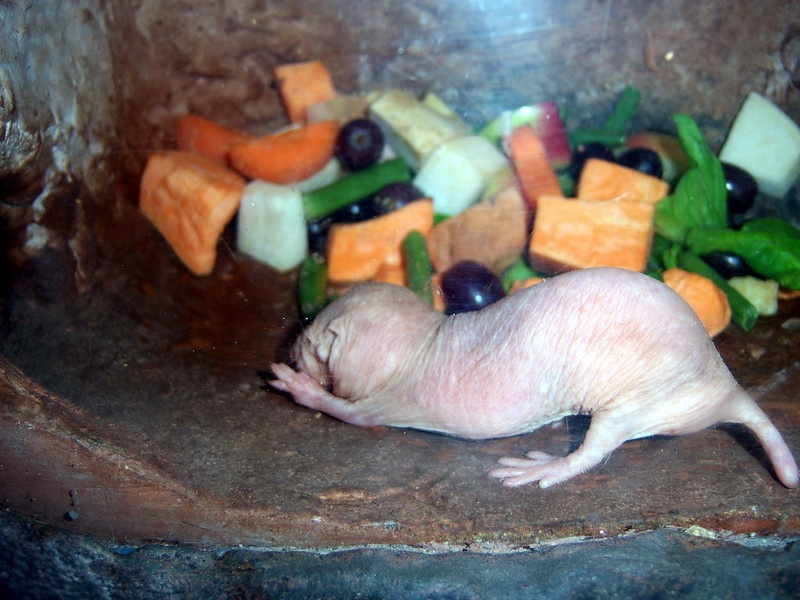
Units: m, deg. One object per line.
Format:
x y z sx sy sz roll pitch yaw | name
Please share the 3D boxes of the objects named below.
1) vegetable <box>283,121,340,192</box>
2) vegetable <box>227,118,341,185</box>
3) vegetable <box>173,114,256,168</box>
-0.235 -0.403 2.797 0.136 0.043 0.167 17 82 -20 | vegetable
-0.304 -0.420 2.795 0.336 0.179 0.110 -20 54 -13 | vegetable
-0.545 -0.474 2.793 0.223 0.079 0.123 20 44 4 | vegetable
